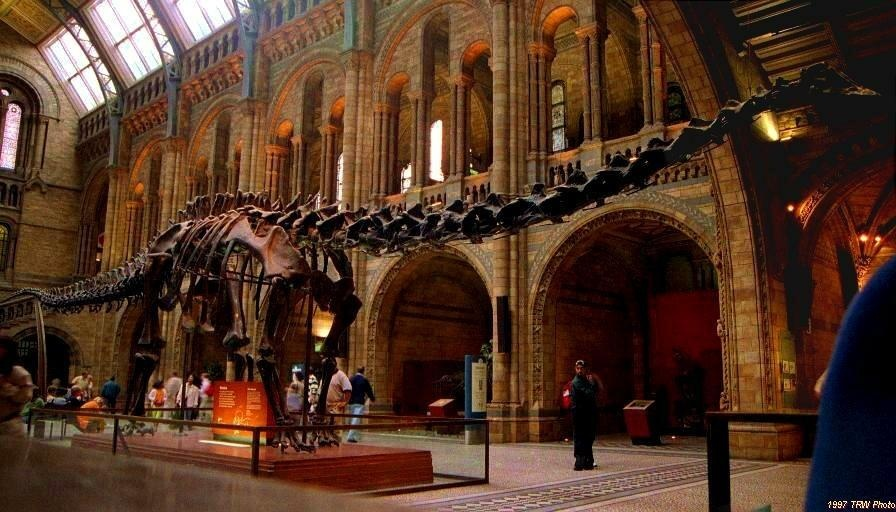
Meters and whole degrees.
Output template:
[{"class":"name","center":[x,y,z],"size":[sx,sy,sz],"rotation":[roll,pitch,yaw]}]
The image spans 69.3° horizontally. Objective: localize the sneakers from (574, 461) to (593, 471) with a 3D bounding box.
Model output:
[{"class":"sneakers","center":[1.985,3.067,9.438],"size":[0.332,0.115,0.121],"rotation":[3,-4,-45]}]

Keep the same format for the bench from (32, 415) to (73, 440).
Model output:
[{"class":"bench","center":[-5.172,2.265,8.467],"size":[0.308,0.304,1.877],"rotation":[15,-21,-34]}]

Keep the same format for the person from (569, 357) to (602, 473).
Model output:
[{"class":"person","center":[2.126,2.430,9.945],"size":[0.437,1.716,0.996],"rotation":[-1,-19,13]}]
